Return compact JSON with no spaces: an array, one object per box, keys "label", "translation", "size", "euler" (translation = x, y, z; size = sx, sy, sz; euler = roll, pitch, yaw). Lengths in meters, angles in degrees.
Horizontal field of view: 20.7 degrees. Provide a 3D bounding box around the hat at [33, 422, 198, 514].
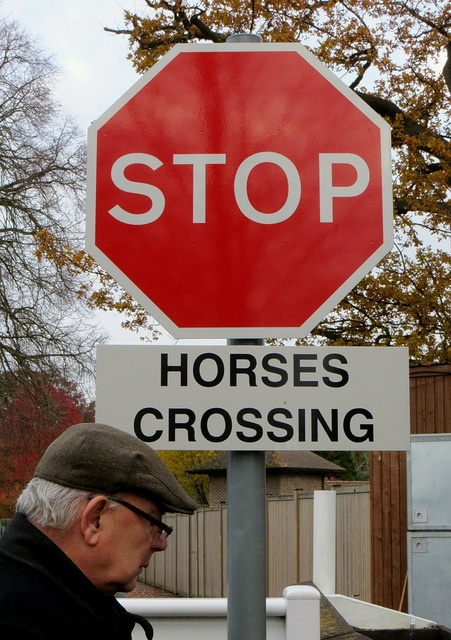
[{"label":"hat","translation":[-0.293,0.426,3.184],"size":[0.325,0.165,0.241],"euler":[17,-11,-20]}]
